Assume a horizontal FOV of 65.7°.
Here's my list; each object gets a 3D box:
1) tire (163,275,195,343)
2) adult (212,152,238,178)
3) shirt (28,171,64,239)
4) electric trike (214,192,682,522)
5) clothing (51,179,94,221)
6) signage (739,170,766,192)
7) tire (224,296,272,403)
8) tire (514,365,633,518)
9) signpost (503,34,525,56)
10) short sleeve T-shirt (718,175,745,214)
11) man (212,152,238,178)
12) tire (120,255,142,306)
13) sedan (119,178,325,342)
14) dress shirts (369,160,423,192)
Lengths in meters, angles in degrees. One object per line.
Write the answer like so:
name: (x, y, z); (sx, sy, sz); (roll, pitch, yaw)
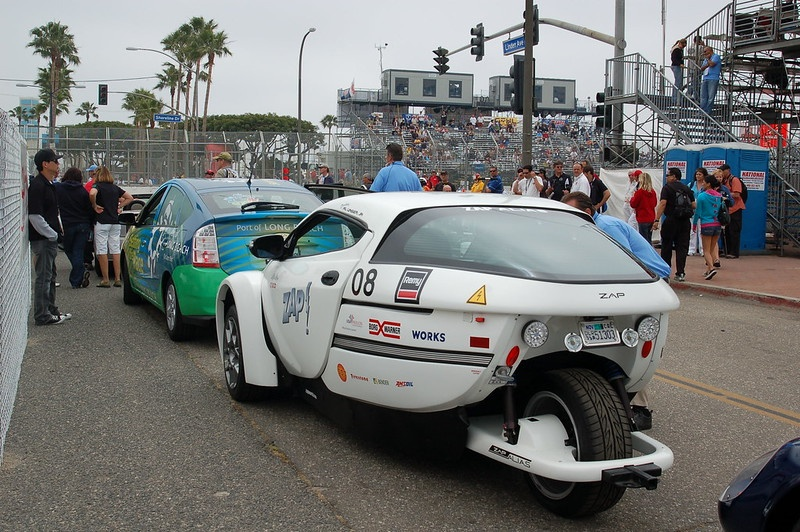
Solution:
tire: (-3.003, 0.581, 8.462); (0.249, 0.933, 0.868); (0, -1, -20)
adult: (-3.774, -2.208, 13.343); (0.325, 0.505, 0.662); (-2, 9, -17)
shirt: (-5.453, -0.901, 9.483); (0.435, 1.004, 0.553); (-4, 10, -28)
electric trike: (0.241, 0.347, 5.252); (2.103, 1.676, 3.482); (-1, 13, -35)
clothing: (-6.276, -1.239, 11.854); (0.842, 0.905, 0.488); (-5, 12, -17)
signage: (10.316, -2.515, 18.194); (0.657, 0.726, 0.385); (0, 0, -9)
tire: (-1.498, 0.842, 6.185); (0.320, 1.083, 1.013); (-2, -2, -14)
tire: (1.229, 1.251, 4.334); (0.381, 1.087, 0.873); (-3, -7, -37)
signpost: (3.389, -6.563, 18.340); (0.511, 0.708, 1.908); (2, 9, 8)
short sleeve T-shirt: (9.137, -1.980, 17.127); (0.609, 1.105, 0.945); (-8, 14, -2)
man: (-3.765, -2.206, 13.328); (0.295, 0.505, 0.715); (-2, 9, -13)
tire: (-4.595, 0.254, 10.626); (0.208, 0.621, 0.618); (5, 46, -20)
sedan: (-3.004, -0.435, 9.344); (1.914, 1.616, 3.333); (-3, 13, -28)
dress shirts: (-0.061, -1.661, 11.295); (0.768, 0.528, 0.945); (2, 9, 12)
